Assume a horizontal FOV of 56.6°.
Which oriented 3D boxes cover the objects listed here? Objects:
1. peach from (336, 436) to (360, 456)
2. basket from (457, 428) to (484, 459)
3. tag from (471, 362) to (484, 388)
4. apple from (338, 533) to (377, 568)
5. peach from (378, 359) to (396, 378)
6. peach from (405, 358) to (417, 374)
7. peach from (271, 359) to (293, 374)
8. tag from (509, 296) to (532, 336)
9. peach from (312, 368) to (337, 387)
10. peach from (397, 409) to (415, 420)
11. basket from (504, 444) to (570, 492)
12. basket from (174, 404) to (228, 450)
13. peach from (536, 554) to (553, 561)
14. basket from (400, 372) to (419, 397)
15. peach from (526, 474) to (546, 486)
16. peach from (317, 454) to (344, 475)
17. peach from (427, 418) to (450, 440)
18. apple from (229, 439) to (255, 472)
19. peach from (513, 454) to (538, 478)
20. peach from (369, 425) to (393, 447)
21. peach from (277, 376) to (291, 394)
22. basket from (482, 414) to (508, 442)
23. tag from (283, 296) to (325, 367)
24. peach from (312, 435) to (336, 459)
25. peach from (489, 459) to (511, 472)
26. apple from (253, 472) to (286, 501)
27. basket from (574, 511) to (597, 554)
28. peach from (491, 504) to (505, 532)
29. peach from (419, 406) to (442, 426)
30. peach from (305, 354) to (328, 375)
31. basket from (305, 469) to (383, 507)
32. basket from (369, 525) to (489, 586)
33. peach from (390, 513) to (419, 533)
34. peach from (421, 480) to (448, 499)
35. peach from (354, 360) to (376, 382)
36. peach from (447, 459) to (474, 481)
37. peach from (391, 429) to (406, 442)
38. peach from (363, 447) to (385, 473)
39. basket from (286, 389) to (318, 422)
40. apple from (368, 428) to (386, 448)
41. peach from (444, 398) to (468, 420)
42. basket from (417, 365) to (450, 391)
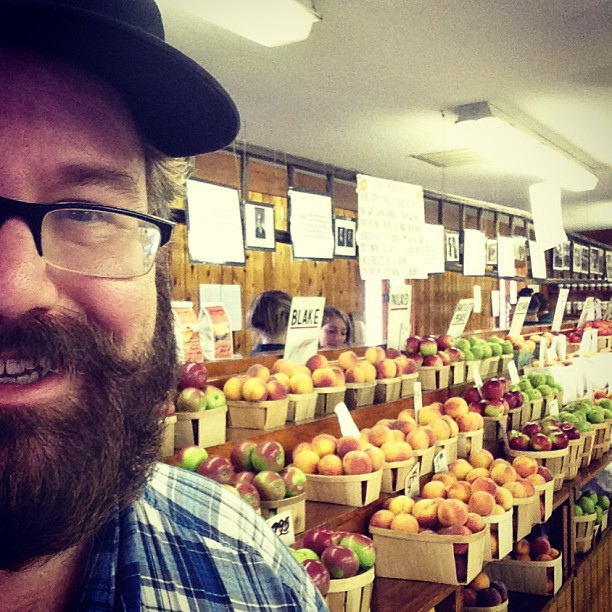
[{"bbox_3d":[0.151,0.522,2.155,0.074,0.034,0.072,23,21,33],"label":"peach"},{"bbox_3d":[0.808,0.678,2.829,0.166,0.097,0.131,-2,-3,10],"label":"basket"},{"bbox_3d":[1.014,0.405,3.367,0.051,0.176,0.013,-19,12,7],"label":"tag"},{"bbox_3d":[0.174,0.753,1.771,0.101,0.083,0.121,4,6,41],"label":"apple"},{"bbox_3d":[0.410,0.308,2.817,0.092,0.077,0.045,16,-9,-39],"label":"peach"},{"bbox_3d":[0.574,0.325,3.043,0.078,0.073,0.071,-3,3,13],"label":"peach"},{"bbox_3d":[-0.117,0.264,2.580,0.083,0.067,0.070,-11,4,10],"label":"peach"},{"bbox_3d":[1.812,0.072,4.803,0.008,0.351,0.120,33,-19,-27],"label":"tag"},{"bbox_3d":[0.079,0.318,2.552,0.096,0.072,0.078,0,2,-13],"label":"peach"},{"bbox_3d":[0.464,0.502,2.667,0.062,0.049,0.060,1,4,-42],"label":"peach"},{"bbox_3d":[1.242,0.848,3.110,0.337,0.183,0.277,0,-1,-22],"label":"basket"},{"bbox_3d":[-0.363,0.426,1.964,0.132,0.079,0.177,-3,-6,31],"label":"basket"},{"bbox_3d":[1.222,1.276,2.908,0.045,0.036,0.041,-5,-11,-27],"label":"peach"},{"bbox_3d":[0.524,0.409,2.961,0.115,0.072,0.126,-1,2,-7],"label":"basket"},{"bbox_3d":[1.099,0.831,2.725,0.053,0.044,0.048,-11,-15,-25],"label":"peach"},{"bbox_3d":[0.092,0.583,2.098,0.087,0.066,0.075,7,26,7],"label":"peach"},{"bbox_3d":[0.604,0.560,2.610,0.092,0.085,0.082,1,23,9],"label":"peach"},{"bbox_3d":[-0.216,0.502,1.907,0.101,0.097,0.094,-15,-14,27],"label":"apple"},{"bbox_3d":[1.077,0.795,2.830,0.115,0.090,0.095,-4,2,5],"label":"peach"},{"bbox_3d":[0.313,0.537,2.354,0.085,0.036,0.079,4,25,29],"label":"peach"},{"bbox_3d":[-0.082,0.329,2.360,0.072,0.067,0.065,-1,2,16],"label":"peach"},{"bbox_3d":[1.005,0.676,3.118,0.164,0.095,0.129,2,-5,-24],"label":"basket"},{"bbox_3d":[-0.016,0.132,2.859,0.027,0.432,0.384,10,-1,34],"label":"tag"},{"bbox_3d":[0.066,0.542,2.174,0.084,0.068,0.071,17,-18,-15],"label":"peach"},{"bbox_3d":[0.921,0.749,2.683,0.066,0.057,0.068,-1,-11,32],"label":"peach"},{"bbox_3d":[-0.123,0.565,1.822,0.099,0.097,0.081,-1,-39,-26],"label":"apple"},{"bbox_3d":[1.760,1.418,3.565,0.269,0.251,0.067,-1,4,-44],"label":"basket"},{"bbox_3d":[0.763,0.848,2.276,0.033,0.081,0.089,24,4,6],"label":"peach"},{"bbox_3d":[0.581,0.518,2.707,0.091,0.089,0.083,-13,-45,37],"label":"peach"},{"bbox_3d":[0.052,0.273,2.650,0.076,0.076,0.046,24,5,11],"label":"peach"},{"bbox_3d":[0.150,0.652,2.094,0.223,0.070,0.155,-3,-7,24],"label":"basket"},{"bbox_3d":[0.422,0.863,2.049,0.326,0.103,0.234,-2,-10,18],"label":"basket"},{"bbox_3d":[0.359,0.787,2.056,0.073,0.059,0.070,1,18,17],"label":"peach"},{"bbox_3d":[0.515,0.733,2.312,0.077,0.075,0.071,11,23,19],"label":"peach"},{"bbox_3d":[0.297,0.311,2.735,0.105,0.051,0.087,22,2,35],"label":"peach"},{"bbox_3d":[0.683,0.733,2.563,0.086,0.075,0.089,-11,3,40],"label":"peach"},{"bbox_3d":[0.389,0.546,2.395,0.052,0.044,0.053,-5,41,-24],"label":"peach"},{"bbox_3d":[0.261,0.572,2.153,0.092,0.086,0.078,-12,-14,38],"label":"peach"},{"bbox_3d":[-0.018,0.419,2.359,0.114,0.076,0.127,3,-7,-11],"label":"basket"},{"bbox_3d":[0.281,0.536,2.342,0.076,0.062,0.034,-2,-19,17],"label":"apple"},{"bbox_3d":[0.759,0.519,2.900,0.123,0.096,0.104,3,-9,-23],"label":"peach"},{"bbox_3d":[0.732,0.415,3.227,0.177,0.092,0.150,-6,-8,44],"label":"basket"}]
